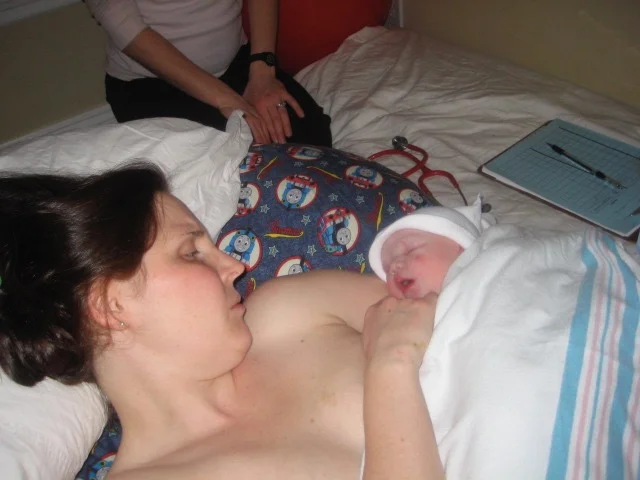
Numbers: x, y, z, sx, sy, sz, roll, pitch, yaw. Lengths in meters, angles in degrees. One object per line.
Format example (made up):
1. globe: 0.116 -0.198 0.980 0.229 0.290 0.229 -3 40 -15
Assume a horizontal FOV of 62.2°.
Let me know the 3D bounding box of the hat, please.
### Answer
1. hat: 0.282 -0.041 1.293 0.270 0.121 0.200 -27 41 -14

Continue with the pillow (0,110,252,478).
1. pillow: -0.492 0.111 1.563 0.229 0.887 0.678 -3 45 27

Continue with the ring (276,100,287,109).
1. ring: -0.127 -0.457 1.783 0.034 0.022 0.031 1 6 0

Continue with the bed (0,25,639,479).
1. bed: -0.028 -0.245 1.701 1.624 0.389 1.279 -27 52 -19
